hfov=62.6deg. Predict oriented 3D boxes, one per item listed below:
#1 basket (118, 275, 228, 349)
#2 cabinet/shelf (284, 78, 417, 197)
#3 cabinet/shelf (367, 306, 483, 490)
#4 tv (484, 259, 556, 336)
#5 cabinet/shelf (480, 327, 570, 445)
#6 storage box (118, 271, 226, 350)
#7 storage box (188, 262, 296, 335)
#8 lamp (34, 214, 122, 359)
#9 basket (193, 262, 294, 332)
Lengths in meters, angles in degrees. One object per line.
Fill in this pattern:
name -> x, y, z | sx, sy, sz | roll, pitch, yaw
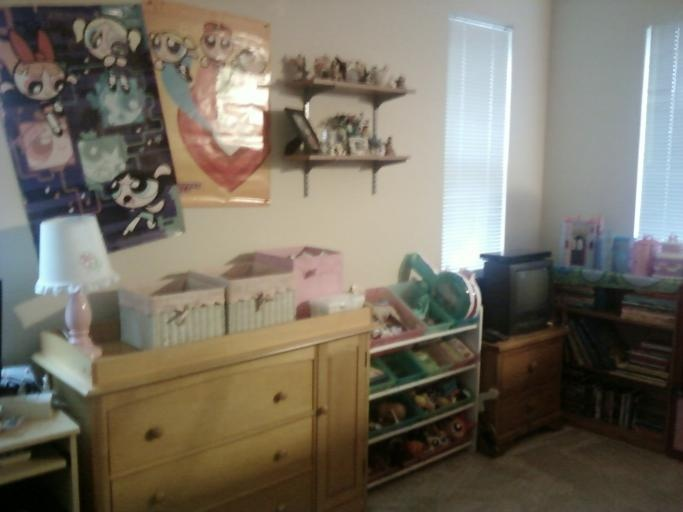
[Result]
basket -> -0.869, 0.268, 2.965 | 0.419, 0.326, 0.534 | 3, 4, 44
cabinet/shelf -> 0.015, -0.768, 3.608 | 0.804, 0.678, 0.239 | -4, 9, -36
cabinet/shelf -> 0.391, 0.890, 3.637 | 1.121, 1.083, 0.387 | -6, 9, -37
tv -> 1.321, 0.271, 4.227 | 0.491, 0.573, 0.339 | -5, 8, -20
cabinet/shelf -> 1.265, 0.951, 4.198 | 0.696, 0.723, 0.457 | -8, 10, -29
storage box -> -0.874, 0.267, 2.953 | 0.386, 0.315, 0.513 | 3, 5, 36
storage box -> -0.536, 0.186, 3.073 | 0.405, 0.256, 0.400 | -7, 14, -34
lamp -> -1.288, 0.149, 2.672 | 0.408, 0.664, 0.247 | 4, 13, 26
basket -> -0.497, 0.227, 3.023 | 0.403, 0.251, 0.395 | -7, 11, -35
